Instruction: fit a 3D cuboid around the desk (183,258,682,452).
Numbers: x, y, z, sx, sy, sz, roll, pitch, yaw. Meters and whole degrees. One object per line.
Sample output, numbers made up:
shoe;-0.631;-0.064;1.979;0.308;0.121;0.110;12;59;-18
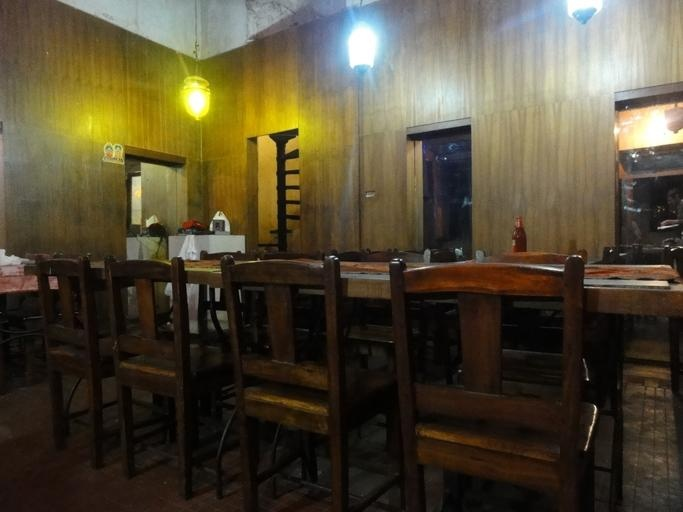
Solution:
desk;0.102;0.277;3.445;3.413;0.588;1.231;-1;4;24

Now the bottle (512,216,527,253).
bottle;1.183;-0.139;3.800;0.077;0.229;0.398;-1;4;15
